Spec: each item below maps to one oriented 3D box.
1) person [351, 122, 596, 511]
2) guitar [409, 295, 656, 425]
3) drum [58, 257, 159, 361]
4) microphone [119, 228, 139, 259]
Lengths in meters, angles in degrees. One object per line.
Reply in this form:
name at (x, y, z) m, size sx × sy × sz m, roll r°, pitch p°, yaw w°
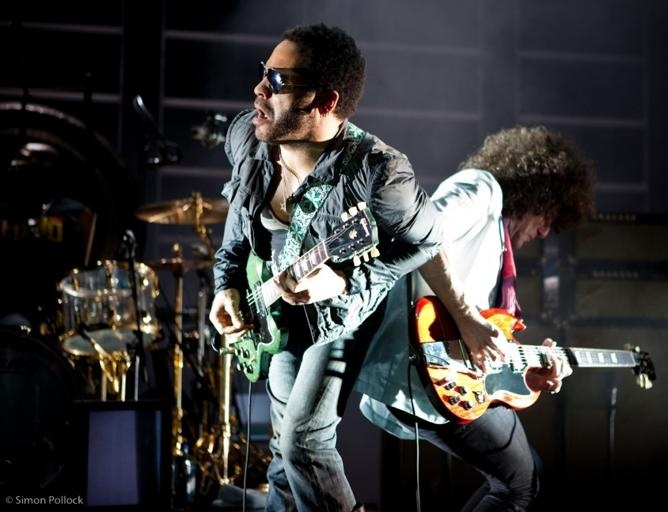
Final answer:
person at (0.929, 0.186, 5.992) m, size 1.214 × 2.684 × 0.373 m, roll 21°, pitch -23°, yaw -31°
guitar at (1.136, 0.662, 5.949) m, size 1.464 × 0.741 × 0.278 m, roll 6°, pitch -6°, yaw -30°
drum at (-1.633, 0.366, 7.060) m, size 0.690 × 0.517 × 0.686 m, roll -6°, pitch -1°, yaw 0°
microphone at (-1.615, -0.082, 7.568) m, size 0.179 × 0.308 × 0.073 m, roll -6°, pitch -10°, yaw 16°
